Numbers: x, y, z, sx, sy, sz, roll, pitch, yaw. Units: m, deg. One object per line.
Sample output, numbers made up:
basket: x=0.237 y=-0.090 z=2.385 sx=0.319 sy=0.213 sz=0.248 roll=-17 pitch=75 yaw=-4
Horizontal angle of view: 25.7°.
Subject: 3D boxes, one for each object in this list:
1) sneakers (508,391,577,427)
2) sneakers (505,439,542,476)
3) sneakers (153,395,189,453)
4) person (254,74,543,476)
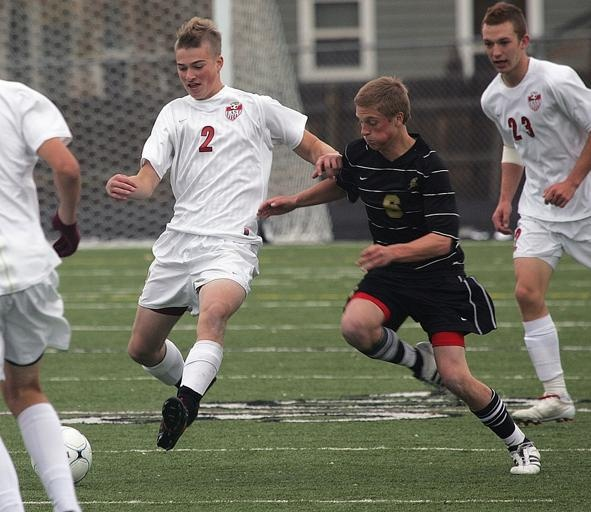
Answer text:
sneakers: x=1.479 y=0.921 z=7.787 sx=0.457 sy=0.181 sz=0.150 roll=2 pitch=-1 yaw=-7
sneakers: x=1.222 y=1.062 z=6.938 sx=0.175 sy=0.164 sz=0.152 roll=1 pitch=8 yaw=9
sneakers: x=-0.604 y=0.827 z=6.525 sx=0.125 sy=0.290 sz=0.138 roll=21 pitch=18 yaw=-4
person: x=0.618 y=0.067 z=7.159 sx=1.480 sy=2.081 sz=0.729 roll=1 pitch=9 yaw=8
